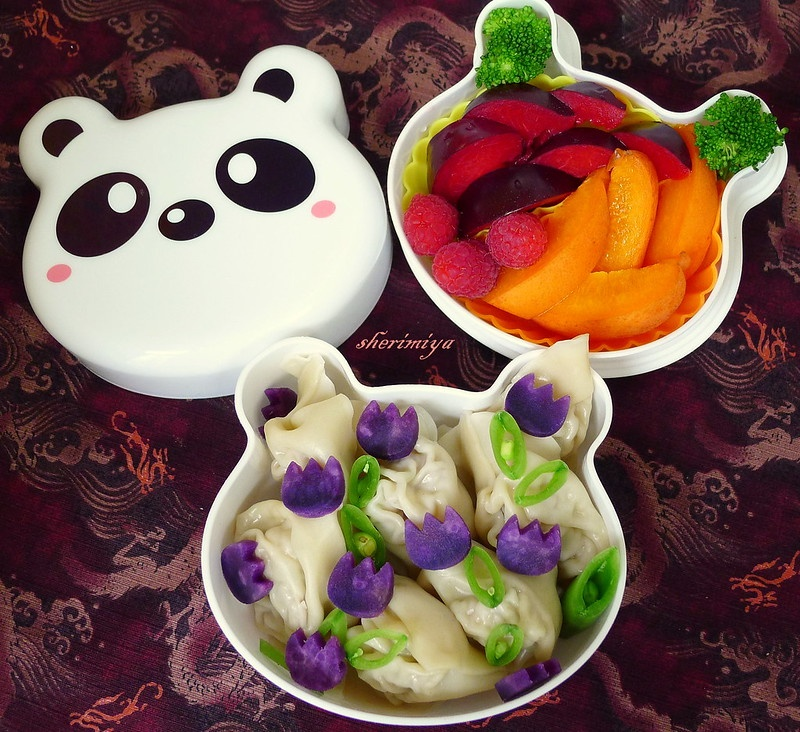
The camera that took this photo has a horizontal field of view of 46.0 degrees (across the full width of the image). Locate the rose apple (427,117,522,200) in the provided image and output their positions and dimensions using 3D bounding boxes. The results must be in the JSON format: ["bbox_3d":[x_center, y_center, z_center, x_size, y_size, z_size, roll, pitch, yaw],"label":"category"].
[{"bbox_3d":[0.161,-0.430,2.011,0.234,0.132,0.116,-24,45,-13],"label":"rose apple"}]

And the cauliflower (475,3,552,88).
[{"bbox_3d":[0.253,-0.697,2.043,0.179,0.170,0.192,5,43,6],"label":"cauliflower"}]
